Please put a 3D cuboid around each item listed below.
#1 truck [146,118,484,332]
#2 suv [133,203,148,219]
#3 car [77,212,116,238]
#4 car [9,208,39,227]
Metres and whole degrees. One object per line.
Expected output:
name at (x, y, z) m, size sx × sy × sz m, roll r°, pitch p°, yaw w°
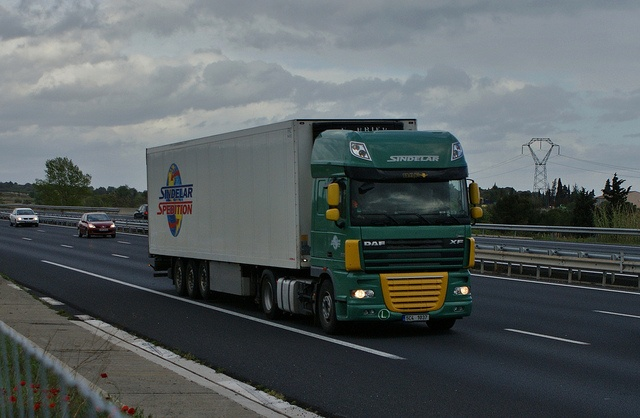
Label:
truck at (-1.301, 0.214, 18.290) m, size 4.224 × 6.116 × 14.033 m, roll -1°, pitch -1°, yaw -29°
suv at (-25.408, 0.287, 79.267) m, size 2.366 × 2.271 × 4.031 m, roll 0°, pitch 11°, yaw -25°
car at (-18.781, 1.427, 47.204) m, size 2.231 × 1.822 × 2.877 m, roll -1°, pitch 1°, yaw -45°
car at (-32.060, 0.967, 60.401) m, size 2.711 × 1.880 × 2.434 m, roll 1°, pitch 1°, yaw 45°
